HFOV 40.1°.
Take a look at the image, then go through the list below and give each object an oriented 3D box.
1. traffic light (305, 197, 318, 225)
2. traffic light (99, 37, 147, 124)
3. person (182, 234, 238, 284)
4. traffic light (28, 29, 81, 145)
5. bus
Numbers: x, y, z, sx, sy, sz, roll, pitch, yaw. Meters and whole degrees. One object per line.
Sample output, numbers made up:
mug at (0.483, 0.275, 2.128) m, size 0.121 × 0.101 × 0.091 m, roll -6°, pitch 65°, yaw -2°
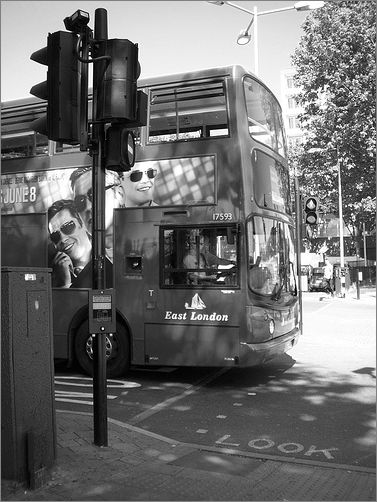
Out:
traffic light at (2.724, -0.901, 11.450) m, size 0.283 × 0.654 × 0.286 m, roll -2°, pitch -5°, yaw 18°
traffic light at (-0.519, -1.336, 4.057) m, size 0.382 × 0.630 × 0.295 m, roll 1°, pitch -5°, yaw -12°
person at (0.255, 0.129, 7.084) m, size 0.719 × 0.894 × 0.445 m, roll 2°, pitch 0°, yaw 25°
traffic light at (-0.966, -1.272, 3.965) m, size 0.270 × 0.845 × 0.292 m, roll 1°, pitch -5°, yaw -12°
bus at (-0.311, -0.409, 9.420) m, size 6.210 × 4.659 × 2.494 m, roll -1°, pitch 0°, yaw 25°
